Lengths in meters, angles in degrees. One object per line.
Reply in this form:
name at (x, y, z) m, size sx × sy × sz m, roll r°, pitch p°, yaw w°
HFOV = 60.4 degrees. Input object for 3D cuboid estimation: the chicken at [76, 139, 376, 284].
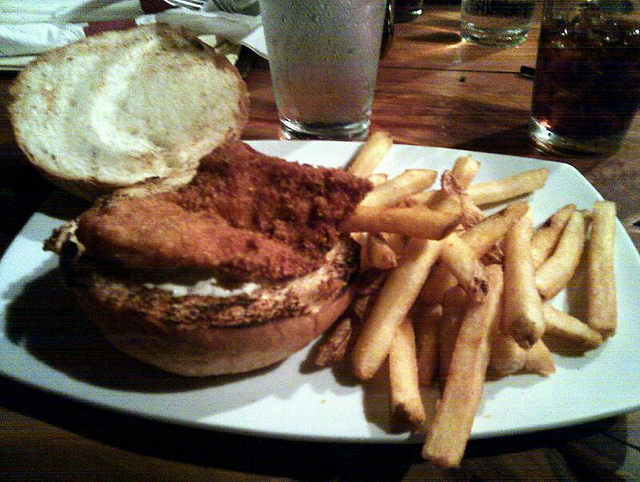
chicken at (-0.127, -0.029, 0.855) m, size 0.227 × 0.169 × 0.339 m, roll 34°, pitch 53°, yaw 25°
